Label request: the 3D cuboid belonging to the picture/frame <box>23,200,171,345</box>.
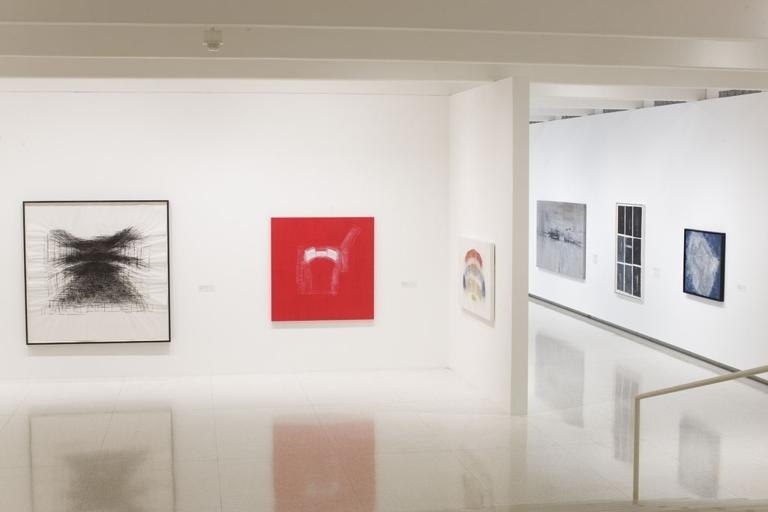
[{"bbox_3d":[-5.099,0.207,10.002,2.519,2.534,0.091,-1,2,-8],"label":"picture/frame"}]
